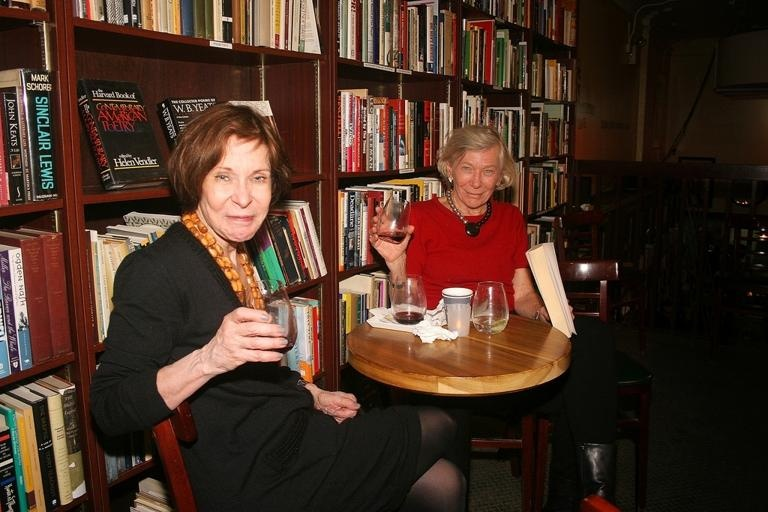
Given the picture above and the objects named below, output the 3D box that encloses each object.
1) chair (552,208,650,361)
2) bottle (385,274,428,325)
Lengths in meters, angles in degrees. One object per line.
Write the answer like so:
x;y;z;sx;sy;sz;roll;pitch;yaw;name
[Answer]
1.470;0.195;4.270;0.683;0.872;0.655;14;-27;-39;chair
0.102;0.181;2.421;0.181;0.237;0.191;-2;1;0;bottle
